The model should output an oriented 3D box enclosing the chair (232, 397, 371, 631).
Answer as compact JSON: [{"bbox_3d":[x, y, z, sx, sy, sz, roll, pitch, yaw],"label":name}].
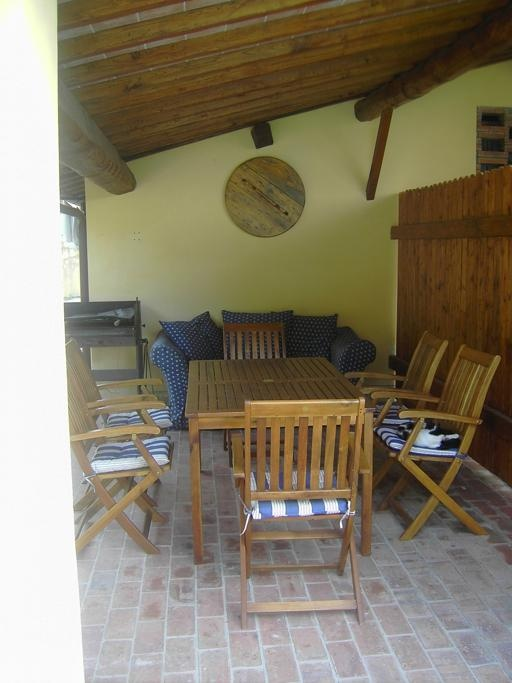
[{"bbox_3d":[0.227,0.727,2.756,0.700,1.098,1.089,-1,8,-1],"label":"chair"}]

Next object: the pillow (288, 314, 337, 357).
[{"bbox_3d":[0.655,-0.069,6.200,0.505,0.487,0.131,2,-15,7],"label":"pillow"}]

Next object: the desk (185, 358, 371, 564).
[{"bbox_3d":[0.090,0.688,3.724,1.080,0.881,1.848,-2,6,2],"label":"desk"}]

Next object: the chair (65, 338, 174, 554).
[{"bbox_3d":[-0.844,0.619,3.322,0.607,1.196,1.039,-3,8,-19],"label":"chair"}]

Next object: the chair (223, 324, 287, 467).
[{"bbox_3d":[-0.003,0.367,5.201,0.833,1.185,0.918,0,3,14],"label":"chair"}]

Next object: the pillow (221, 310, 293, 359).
[{"bbox_3d":[0.000,-0.049,5.855,0.632,0.602,0.184,-1,8,1],"label":"pillow"}]
